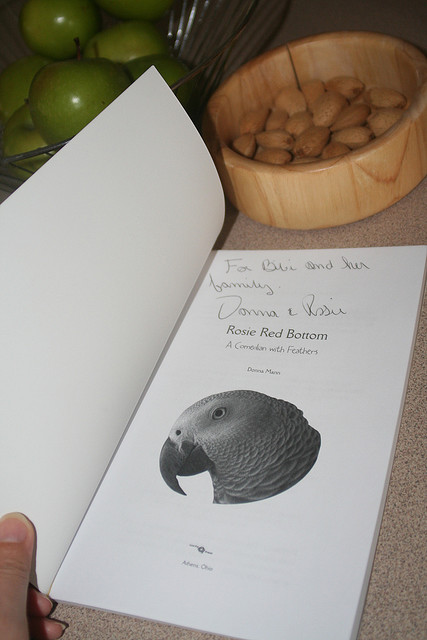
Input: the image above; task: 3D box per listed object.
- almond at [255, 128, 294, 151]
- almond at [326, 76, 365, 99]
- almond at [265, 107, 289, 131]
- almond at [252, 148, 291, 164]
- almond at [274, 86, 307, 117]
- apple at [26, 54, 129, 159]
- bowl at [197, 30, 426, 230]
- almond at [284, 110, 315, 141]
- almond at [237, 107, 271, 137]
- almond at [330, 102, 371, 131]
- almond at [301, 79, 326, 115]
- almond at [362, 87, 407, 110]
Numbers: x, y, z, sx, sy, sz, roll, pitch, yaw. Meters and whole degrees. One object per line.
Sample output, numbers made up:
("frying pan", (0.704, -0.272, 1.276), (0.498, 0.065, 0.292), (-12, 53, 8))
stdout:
("almond", (0.051, -0.144, 0.447), (0.018, 0.013, 0.025), (-9, 30, -9))
("almond", (0.109, -0.192, 0.460), (0.026, 0.008, 0.017), (19, 66, 7))
("almond", (0.050, -0.170, 0.472), (0.015, 0.008, 0.028), (4, 44, 16))
("almond", (0.046, -0.127, 0.433), (0.015, 0.007, 0.023), (14, 33, 40))
("almond", (0.067, -0.188, 0.479), (0.021, 0.028, 0.006), (-5, 0, 26))
("apple", (-0.096, -0.159, 0.380), (0.048, 0.056, 0.049), (33, 12, 9))
("bowl", (0.076, -0.149, 0.451), (0.170, 0.063, 0.173), (0, 35, 0))
("almond", (0.070, -0.162, 0.459), (0.021, 0.012, 0.026), (-21, 47, 36))
("almond", (0.033, -0.166, 0.469), (0.020, 0.009, 0.030), (32, 64, 17))
("almond", (0.109, -0.159, 0.437), (0.023, 0.006, 0.031), (22, 68, 44))
("almond", (0.084, -0.193, 0.473), (0.015, 0.025, 0.030), (9, 76, -10))
("almond", (0.133, -0.172, 0.434), (0.020, 0.007, 0.029), (-47, 46, -15))
